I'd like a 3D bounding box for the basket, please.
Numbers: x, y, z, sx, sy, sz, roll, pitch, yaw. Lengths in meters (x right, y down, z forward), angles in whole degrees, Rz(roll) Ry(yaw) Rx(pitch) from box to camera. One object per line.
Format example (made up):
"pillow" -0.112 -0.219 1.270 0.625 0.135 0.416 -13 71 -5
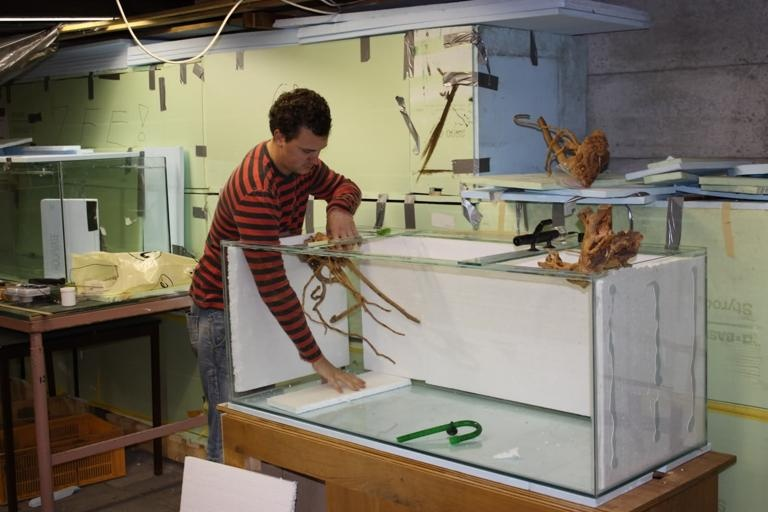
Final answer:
"basket" -2.099 1.275 4.078 0.851 0.347 0.608 -8 11 -41

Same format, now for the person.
"person" -0.443 0.133 2.669 0.736 1.634 0.728 -3 8 -16

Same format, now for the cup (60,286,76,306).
"cup" -1.746 0.232 3.526 0.090 0.101 0.108 -1 3 -42
